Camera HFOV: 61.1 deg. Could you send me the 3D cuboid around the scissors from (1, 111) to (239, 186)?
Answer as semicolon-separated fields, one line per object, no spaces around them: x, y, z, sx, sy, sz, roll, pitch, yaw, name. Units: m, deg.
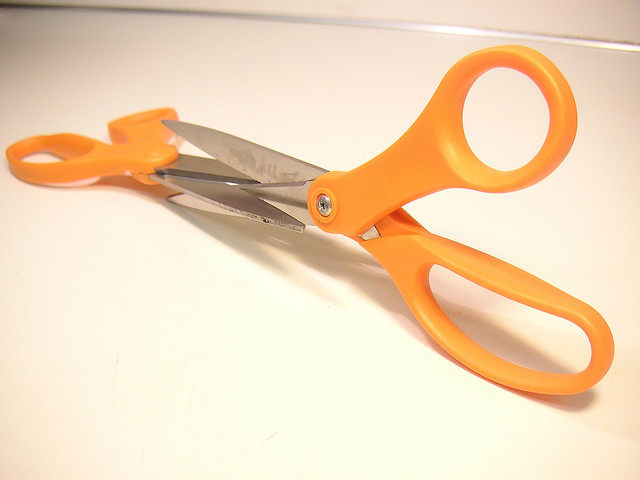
-0.366;-0.177;0.886;0.295;0.182;0.040;10;-67;30;scissors
